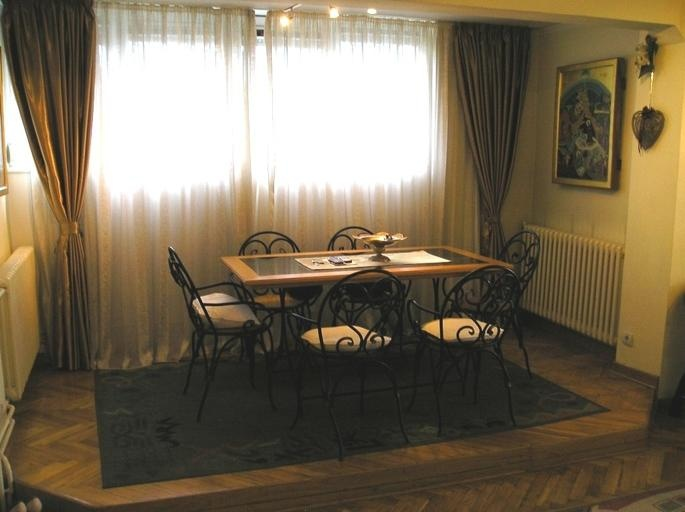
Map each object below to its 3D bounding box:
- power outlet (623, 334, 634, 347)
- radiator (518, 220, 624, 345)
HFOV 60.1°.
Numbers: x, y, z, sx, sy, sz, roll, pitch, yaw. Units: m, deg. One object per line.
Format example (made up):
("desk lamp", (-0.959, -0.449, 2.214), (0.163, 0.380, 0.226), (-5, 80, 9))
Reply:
("power outlet", (2.241, 0.668, 4.612), (0.053, 0.098, 0.094), (-2, 4, -18))
("radiator", (2.054, 0.253, 5.206), (0.110, 0.701, 0.993), (-2, 11, -21))
